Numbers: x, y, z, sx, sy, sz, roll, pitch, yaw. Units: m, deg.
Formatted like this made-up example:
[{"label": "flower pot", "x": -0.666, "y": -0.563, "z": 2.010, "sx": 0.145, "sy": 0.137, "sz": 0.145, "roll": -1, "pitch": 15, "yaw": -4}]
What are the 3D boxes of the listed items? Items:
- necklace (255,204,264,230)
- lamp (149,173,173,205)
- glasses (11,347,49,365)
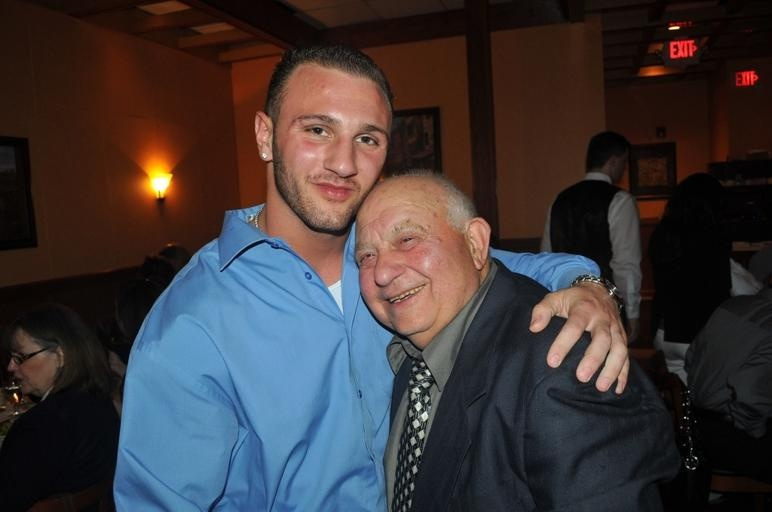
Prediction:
[{"label": "necklace", "x": -0.772, "y": -0.232, "z": 3.577, "sx": 0.031, "sy": 0.115, "sz": 0.085, "roll": 18, "pitch": -15, "yaw": -23}, {"label": "lamp", "x": -3.191, "y": -0.971, "z": 8.480, "sx": 0.334, "sy": 0.362, "sz": 0.350, "roll": 1, "pitch": -3, "yaw": 0}, {"label": "glasses", "x": -2.761, "y": 0.769, "z": 4.561, "sx": 0.182, "sy": 0.052, "sz": 0.193, "roll": -4, "pitch": 6, "yaw": 29}]
